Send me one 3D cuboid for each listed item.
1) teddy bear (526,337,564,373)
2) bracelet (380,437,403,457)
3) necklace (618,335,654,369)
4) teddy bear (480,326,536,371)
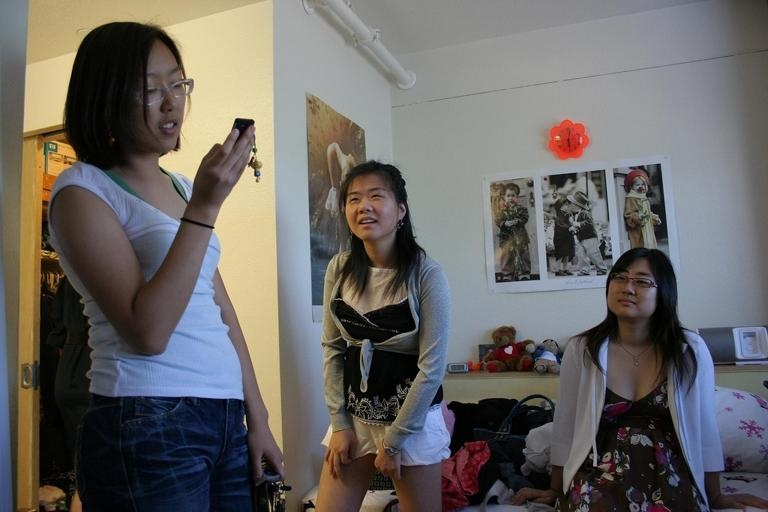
[{"bbox_3d":[1.232,0.750,4.309,0.221,0.151,0.374,6,21,22],"label":"teddy bear"},{"bbox_3d":[0.034,0.776,2.346,0.076,0.071,0.034,-2,-6,-3],"label":"bracelet"},{"bbox_3d":[1.177,0.451,2.689,0.121,0.114,0.038,4,-17,10],"label":"necklace"},{"bbox_3d":[0.962,0.732,4.504,0.417,0.373,0.282,-12,-13,9],"label":"teddy bear"}]
